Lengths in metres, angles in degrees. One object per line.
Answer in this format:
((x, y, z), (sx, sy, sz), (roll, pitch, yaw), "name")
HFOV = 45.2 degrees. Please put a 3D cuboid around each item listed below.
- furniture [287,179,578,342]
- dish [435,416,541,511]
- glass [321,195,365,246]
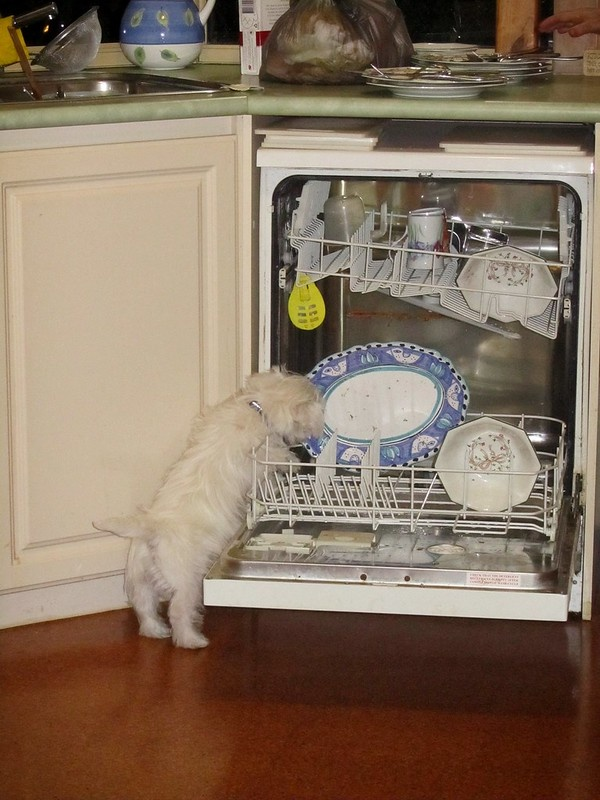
((0.300, -0.294, 1.554), (0.643, 0.340, 0.482), (5, 25, 20), "furniture")
((0.322, 0.115, 1.243), (0.152, 0.112, 0.138), (10, 32, 29), "dish")
((0.088, -0.363, 1.463), (0.077, 0.105, 0.128), (11, 33, 22), "glass")
